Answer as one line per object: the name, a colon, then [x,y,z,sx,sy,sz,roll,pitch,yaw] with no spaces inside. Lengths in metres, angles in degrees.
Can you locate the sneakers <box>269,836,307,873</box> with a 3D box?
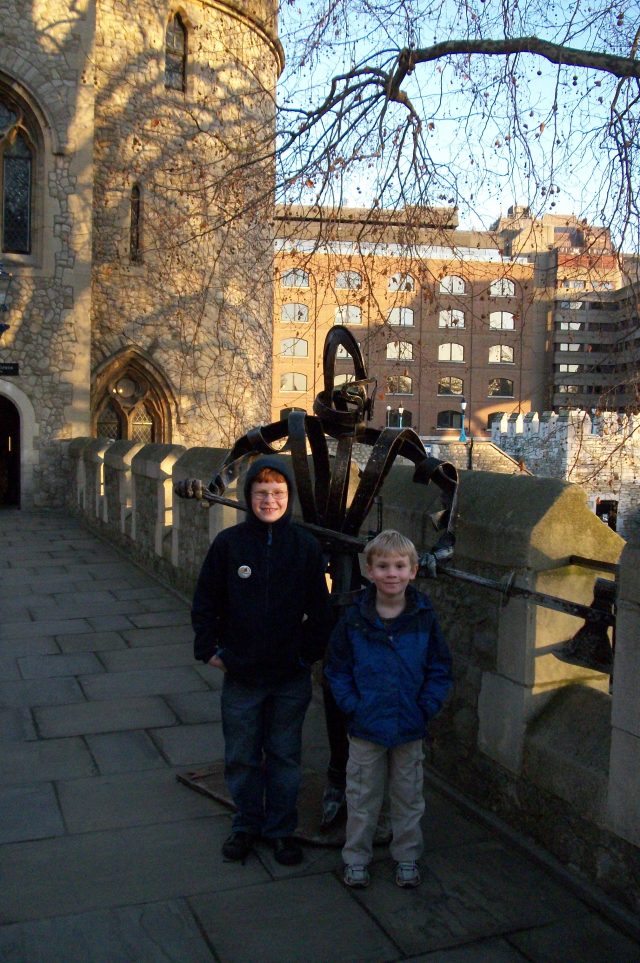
sneakers: [-0.117,1.166,2.564,0.136,0.056,0.120,1,1,19]

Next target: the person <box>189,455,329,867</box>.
person: [-0.198,0.561,2.693,0.459,1.269,0.380,1,1,-1]

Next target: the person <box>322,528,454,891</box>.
person: [0.178,0.679,2.507,0.344,1.035,0.346,2,1,41]
